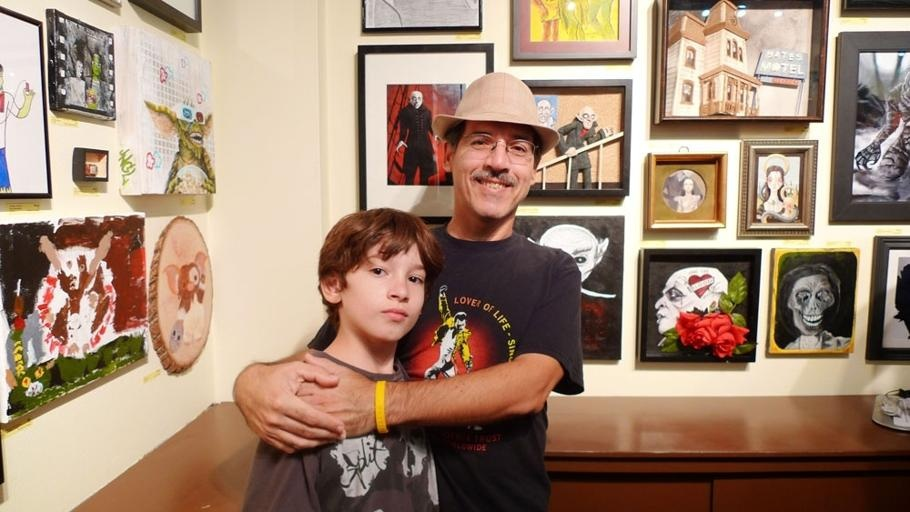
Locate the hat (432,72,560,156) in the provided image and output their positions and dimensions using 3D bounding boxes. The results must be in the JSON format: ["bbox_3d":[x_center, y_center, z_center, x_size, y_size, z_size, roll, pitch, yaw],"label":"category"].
[{"bbox_3d":[0.183,-0.636,2.866,0.360,0.187,0.379,3,-10,28],"label":"hat"}]

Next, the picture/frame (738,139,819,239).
[{"bbox_3d":[1.589,-0.346,3.367,0.441,0.578,0.059,1,7,-1],"label":"picture/frame"}]

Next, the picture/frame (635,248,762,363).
[{"bbox_3d":[1.226,0.233,3.411,0.546,0.525,0.055,1,1,-3],"label":"picture/frame"}]

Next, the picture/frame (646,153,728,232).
[{"bbox_3d":[1.141,-0.323,3.369,0.372,0.362,0.080,0,0,0],"label":"picture/frame"}]

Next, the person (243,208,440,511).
[{"bbox_3d":[-0.420,0.420,2.680,0.732,1.206,0.300,0,5,-11],"label":"person"}]

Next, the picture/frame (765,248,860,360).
[{"bbox_3d":[1.789,0.216,3.420,0.498,0.670,0.066,2,2,2],"label":"picture/frame"}]
